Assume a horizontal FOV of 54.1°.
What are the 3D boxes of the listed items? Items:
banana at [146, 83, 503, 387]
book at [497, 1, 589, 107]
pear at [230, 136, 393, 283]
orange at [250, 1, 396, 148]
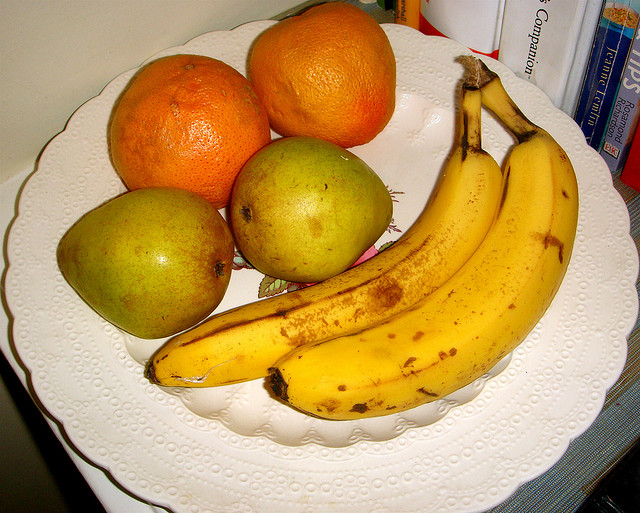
[{"bbox_3d":[0.076,0.028,0.992,0.742,0.233,0.223,-32,41,-21],"label":"banana"},{"bbox_3d":[0.391,-0.379,1.106,0.116,0.251,0.178,4,48,14],"label":"book"},{"bbox_3d":[0.004,-0.080,1.021,0.201,0.210,0.277,-12,20,17],"label":"pear"},{"bbox_3d":[-0.002,-0.292,1.077,0.232,0.224,0.215,-54,33,7],"label":"orange"}]
